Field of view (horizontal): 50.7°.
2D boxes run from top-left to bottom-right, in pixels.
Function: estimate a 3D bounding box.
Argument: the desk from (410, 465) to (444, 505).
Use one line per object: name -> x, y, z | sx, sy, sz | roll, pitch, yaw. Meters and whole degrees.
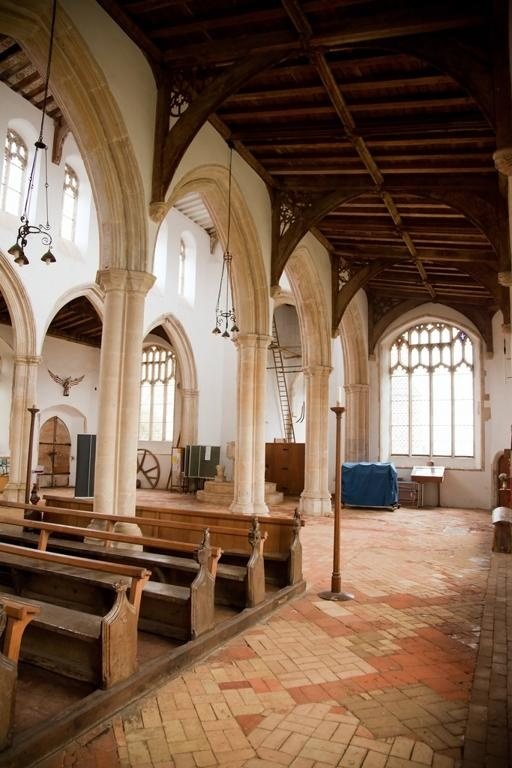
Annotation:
desk -> 4.647, 2.785, 14.585 | 0.814, 1.061, 1.297 | -1, -6, 19
